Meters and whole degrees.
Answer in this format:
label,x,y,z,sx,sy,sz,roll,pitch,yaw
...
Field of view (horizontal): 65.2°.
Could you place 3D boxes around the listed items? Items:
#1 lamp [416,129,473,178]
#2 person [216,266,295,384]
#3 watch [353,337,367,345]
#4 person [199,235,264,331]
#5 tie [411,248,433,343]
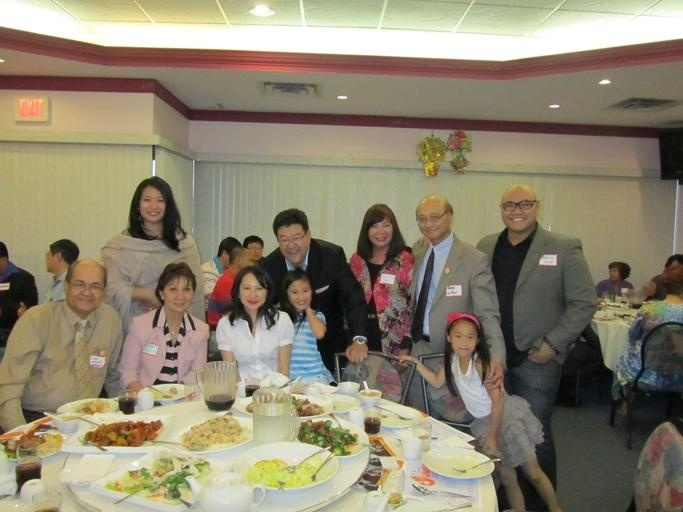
label,x,y,z,sx,sy,sz,roll,pitch,yaw
lamp,1.348,-1.385,7.102,0.645,0.547,0.292,-2,1,-13
person,-0.561,0.439,3.463,0.485,0.721,0.267,-1,8,-7
watch,0.121,0.559,3.559,0.081,0.057,0.080,2,8,13
person,-1.056,0.294,5.291,0.663,1.128,1.123,2,8,-16
tie,0.566,0.288,3.814,0.082,0.676,0.128,14,-2,-18
